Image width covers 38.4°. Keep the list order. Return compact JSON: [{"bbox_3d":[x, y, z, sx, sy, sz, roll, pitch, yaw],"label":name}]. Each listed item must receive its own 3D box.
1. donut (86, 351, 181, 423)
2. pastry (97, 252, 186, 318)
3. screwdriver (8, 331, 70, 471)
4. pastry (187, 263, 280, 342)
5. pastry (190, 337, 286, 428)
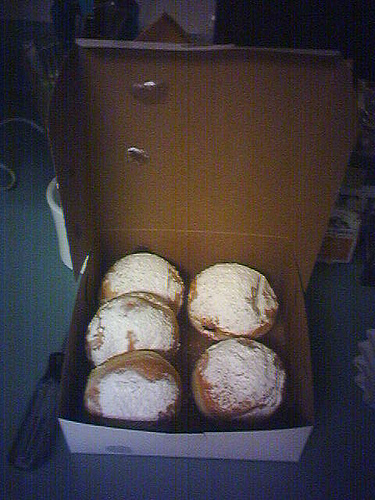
[{"bbox_3d":[-0.098,0.221,0.930,0.170,0.045,0.184,5,31,-20],"label":"donut"},{"bbox_3d":[-0.081,0.058,1.075,0.126,0.138,0.078,21,-17,-4],"label":"pastry"},{"bbox_3d":[-0.290,0.303,1.048,0.089,0.067,0.292,-35,27,25],"label":"screwdriver"},{"bbox_3d":[0.088,0.084,1.073,0.161,0.149,0.085,-5,10,7],"label":"pastry"},{"bbox_3d":[0.092,0.242,0.991,0.181,0.120,0.183,-8,31,-16],"label":"pastry"}]
